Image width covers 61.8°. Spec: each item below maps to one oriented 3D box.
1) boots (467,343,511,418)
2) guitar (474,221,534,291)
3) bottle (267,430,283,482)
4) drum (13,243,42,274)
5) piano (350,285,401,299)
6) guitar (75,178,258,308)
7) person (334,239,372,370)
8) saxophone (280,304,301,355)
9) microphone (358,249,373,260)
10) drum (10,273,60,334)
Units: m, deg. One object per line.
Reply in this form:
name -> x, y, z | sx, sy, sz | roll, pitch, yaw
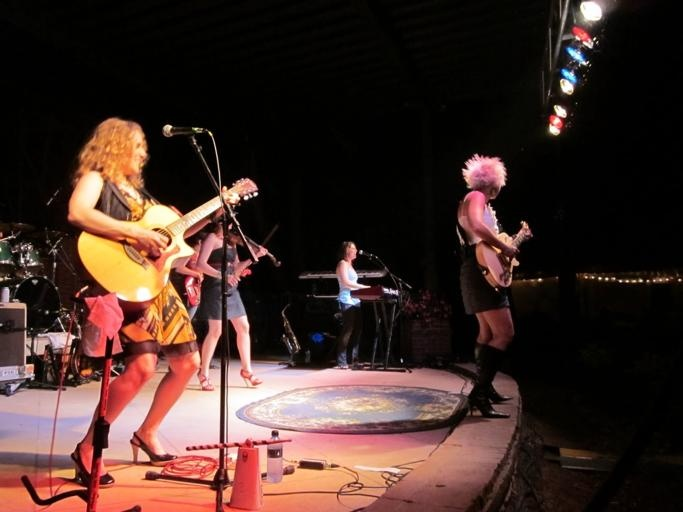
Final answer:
boots -> 1.578, 1.333, 6.108 | 0.416, 0.767, 0.173 | -1, 4, 13
guitar -> 1.877, -0.113, 6.370 | 0.143, 0.491, 1.194 | -34, 12, 51
bottle -> -0.570, 1.718, 4.828 | 0.142, 0.391, 0.141 | -2, 4, 0
drum -> -5.819, 0.001, 10.665 | 0.340, 0.453, 0.388 | -15, -10, 21
piano -> 0.561, 0.603, 9.326 | 0.777, 0.236, 0.292 | -2, 4, 1
guitar -> -1.264, -0.194, 4.911 | 1.608, 0.754, 0.241 | -32, -64, 30
person -> 0.129, 0.862, 9.947 | 0.508, 2.186, 1.054 | -2, 4, 0
saxophone -> -1.038, 1.511, 11.857 | 0.357, 1.149, 0.439 | -8, -6, -26
microphone -> 0.495, -0.022, 11.805 | 0.374, 0.118, 0.103 | 21, -27, 26
drum -> -4.629, 0.724, 8.820 | 0.488, 0.836, 0.775 | 0, 4, 26
